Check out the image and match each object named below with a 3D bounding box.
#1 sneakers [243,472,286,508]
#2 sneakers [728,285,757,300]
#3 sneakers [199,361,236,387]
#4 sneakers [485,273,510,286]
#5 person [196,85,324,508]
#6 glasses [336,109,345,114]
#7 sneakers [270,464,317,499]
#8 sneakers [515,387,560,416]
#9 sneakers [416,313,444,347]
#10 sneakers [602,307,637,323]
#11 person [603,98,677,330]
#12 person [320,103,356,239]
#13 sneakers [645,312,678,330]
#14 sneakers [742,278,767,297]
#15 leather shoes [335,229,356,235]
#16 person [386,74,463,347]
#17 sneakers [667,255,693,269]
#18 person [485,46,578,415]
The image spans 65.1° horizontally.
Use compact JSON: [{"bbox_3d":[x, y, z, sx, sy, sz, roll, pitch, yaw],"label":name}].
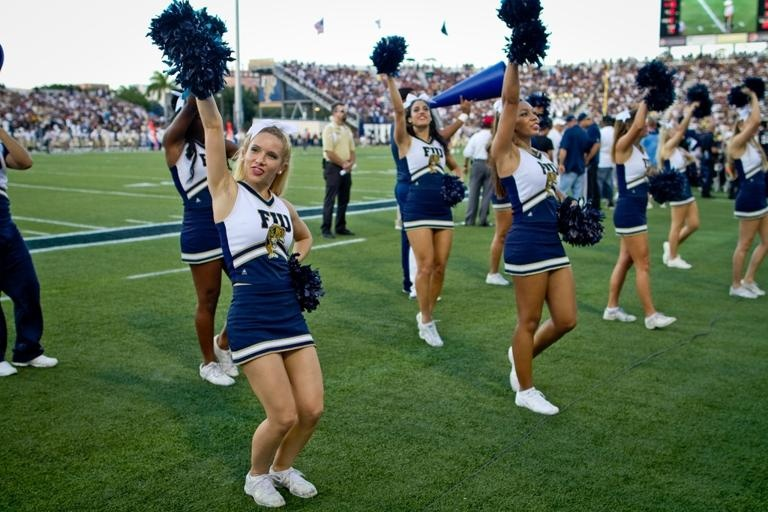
[{"bbox_3d":[-0.731,1.414,3.717,0.269,0.116,0.147,18,8,31],"label":"sneakers"},{"bbox_3d":[4.417,0.432,7.353,0.348,0.124,0.237,-3,13,-12],"label":"sneakers"},{"bbox_3d":[-1.391,0.973,5.019,0.305,0.119,0.149,17,29,23],"label":"sneakers"},{"bbox_3d":[1.463,0.300,7.804,0.257,0.109,0.145,2,6,19],"label":"sneakers"},{"bbox_3d":[-0.745,0.257,3.726,0.610,2.413,0.802,-4,14,-16],"label":"person"},{"bbox_3d":[-0.746,-2.485,10.340,0.061,0.088,0.162,7,15,28],"label":"glasses"},{"bbox_3d":[-0.557,1.397,3.781,0.294,0.117,0.150,18,21,17],"label":"sneakers"},{"bbox_3d":[1.160,1.105,4.683,0.362,0.142,0.146,8,18,30],"label":"sneakers"},{"bbox_3d":[0.409,0.735,5.880,0.157,0.168,0.395,-21,57,-26],"label":"sneakers"},{"bbox_3d":[2.553,0.632,6.510,0.333,0.136,0.155,-1,10,11],"label":"sneakers"},{"bbox_3d":[2.693,-0.457,6.362,0.621,2.306,0.926,0,14,2],"label":"person"},{"bbox_3d":[-0.847,-1.533,10.768,0.626,2.295,1.167,-1,14,-4],"label":"person"},{"bbox_3d":[2.903,0.662,6.216,0.344,0.154,0.138,-6,28,33],"label":"sneakers"},{"bbox_3d":[4.625,0.403,7.517,0.311,0.127,0.119,13,30,-3],"label":"sneakers"},{"bbox_3d":[-0.692,-0.430,10.835,0.351,0.129,0.115,-1,6,0],"label":"leather shoes"},{"bbox_3d":[0.395,-0.511,6.113,0.688,2.516,1.332,1,14,6],"label":"person"},{"bbox_3d":[4.285,0.097,8.800,0.396,0.164,0.159,6,10,43],"label":"sneakers"},{"bbox_3d":[1.155,-0.128,4.631,0.554,2.587,0.777,-5,15,-16],"label":"person"}]
